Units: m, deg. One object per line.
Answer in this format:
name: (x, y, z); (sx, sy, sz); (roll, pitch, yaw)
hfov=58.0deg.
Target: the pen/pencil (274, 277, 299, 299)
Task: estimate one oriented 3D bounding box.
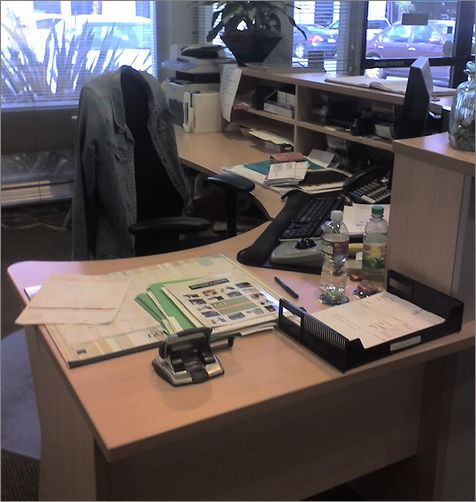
pen/pencil: (0.113, 0.088, 1.040); (0.019, 0.016, 0.113); (14, 14, -22)
